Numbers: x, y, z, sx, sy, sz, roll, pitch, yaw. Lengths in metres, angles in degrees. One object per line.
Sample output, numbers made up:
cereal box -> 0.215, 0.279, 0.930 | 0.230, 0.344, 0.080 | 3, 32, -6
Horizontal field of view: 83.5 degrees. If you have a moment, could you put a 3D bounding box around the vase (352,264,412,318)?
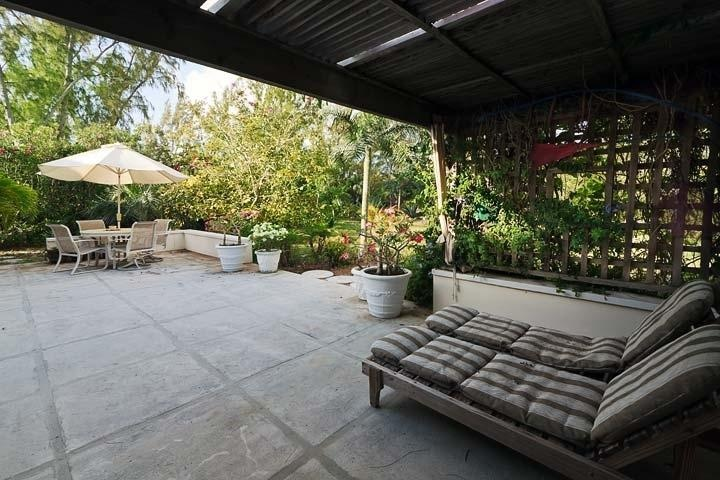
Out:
vase -> 0.312, 0.722, 5.669 | 0.680, 0.483, 0.679 | -1, 3, -20

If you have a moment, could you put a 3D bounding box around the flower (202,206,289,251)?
flower -> -2.479, -0.300, 8.850 | 1.234, 0.749, 1.494 | 2, 6, -7

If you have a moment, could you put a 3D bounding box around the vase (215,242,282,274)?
vase -> -2.260, 0.406, 8.236 | 0.972, 0.362, 0.685 | -1, 2, -1

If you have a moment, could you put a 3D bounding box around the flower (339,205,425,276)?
flower -> 0.323, 0.008, 6.313 | 1.313, 1.256, 1.031 | -1, 10, 24
